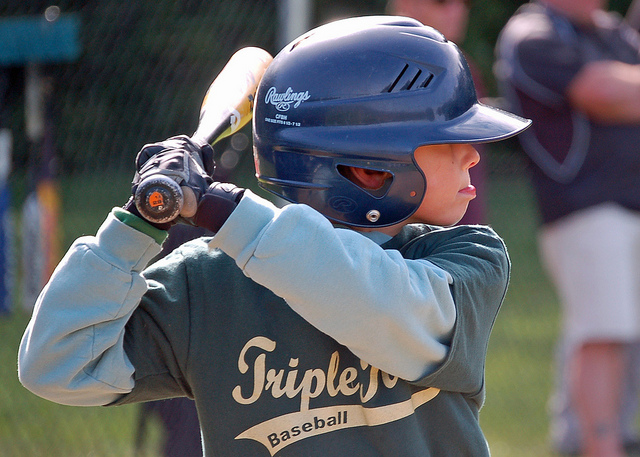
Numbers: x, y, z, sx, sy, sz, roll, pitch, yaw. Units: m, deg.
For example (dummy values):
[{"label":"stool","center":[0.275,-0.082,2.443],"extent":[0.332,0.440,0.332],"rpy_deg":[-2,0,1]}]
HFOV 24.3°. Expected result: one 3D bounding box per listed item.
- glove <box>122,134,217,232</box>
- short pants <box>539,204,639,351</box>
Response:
[{"label":"glove","center":[-0.717,-0.226,7.162],"extent":[0.348,0.204,0.490],"rpy_deg":[20,84,51]},{"label":"short pants","center":[1.635,0.287,8.733],"extent":[0.532,0.352,0.777],"rpy_deg":[-11,75,-2]}]
